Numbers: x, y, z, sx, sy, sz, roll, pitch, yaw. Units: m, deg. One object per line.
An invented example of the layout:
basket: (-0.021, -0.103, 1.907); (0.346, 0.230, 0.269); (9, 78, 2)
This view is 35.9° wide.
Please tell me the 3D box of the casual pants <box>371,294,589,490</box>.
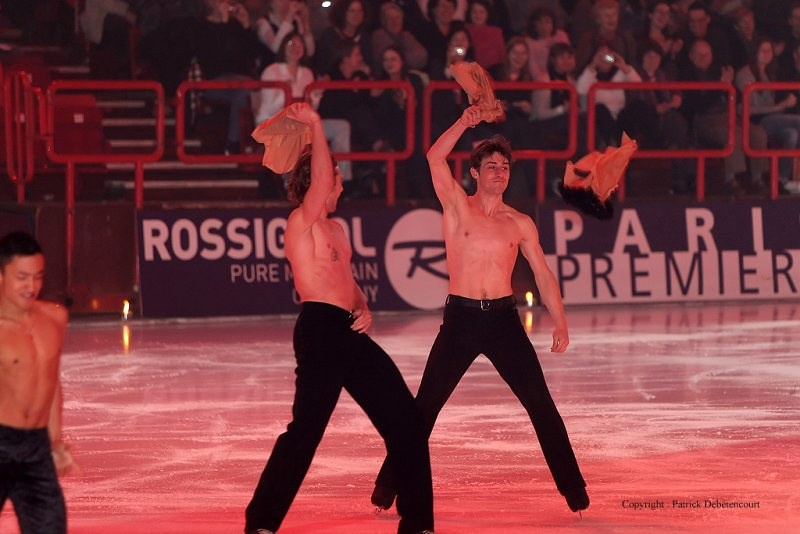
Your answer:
casual pants: (0.772, 1.259, 11.719); (1.765, 1.497, 0.555); (1, -16, -1)
